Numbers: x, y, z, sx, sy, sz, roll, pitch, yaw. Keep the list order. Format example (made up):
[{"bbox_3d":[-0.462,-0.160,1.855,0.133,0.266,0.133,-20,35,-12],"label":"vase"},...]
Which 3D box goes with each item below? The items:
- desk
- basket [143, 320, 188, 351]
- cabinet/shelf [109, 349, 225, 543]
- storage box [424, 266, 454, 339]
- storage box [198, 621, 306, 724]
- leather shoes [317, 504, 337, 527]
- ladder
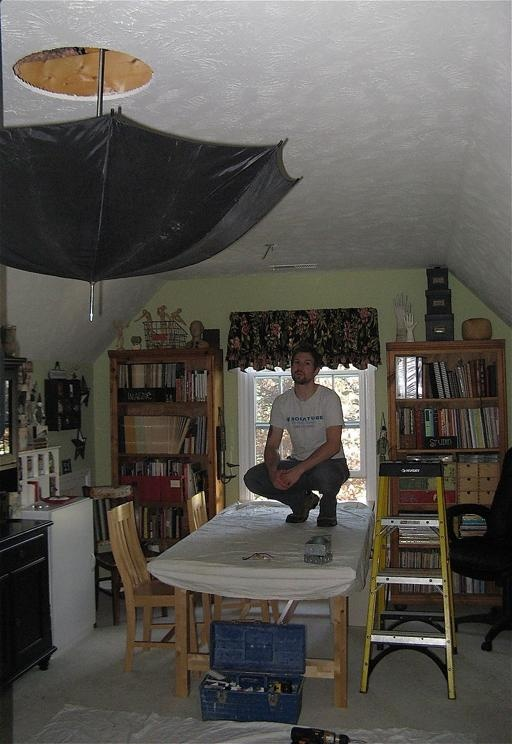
[{"bbox_3d":[0.157,1.036,3.313,0.784,0.542,1.110,0,1,14],"label":"desk"},{"bbox_3d":[-0.806,-0.313,5.490,0.349,0.224,0.250,-1,4,13],"label":"basket"},{"bbox_3d":[-0.802,0.638,5.310,0.844,1.638,0.388,-3,9,-15],"label":"cabinet/shelf"},{"bbox_3d":[1.410,-0.532,4.961,0.204,0.627,0.275,-2,-5,15],"label":"storage box"},{"bbox_3d":[-0.010,1.341,2.890,0.464,0.405,0.244,-1,-5,4],"label":"storage box"},{"bbox_3d":[0.398,0.824,3.590,0.112,0.107,0.073,-3,-9,20],"label":"leather shoes"},{"bbox_3d":[0.951,1.094,3.961,0.501,1.164,1.919,-2,-5,16],"label":"ladder"}]
